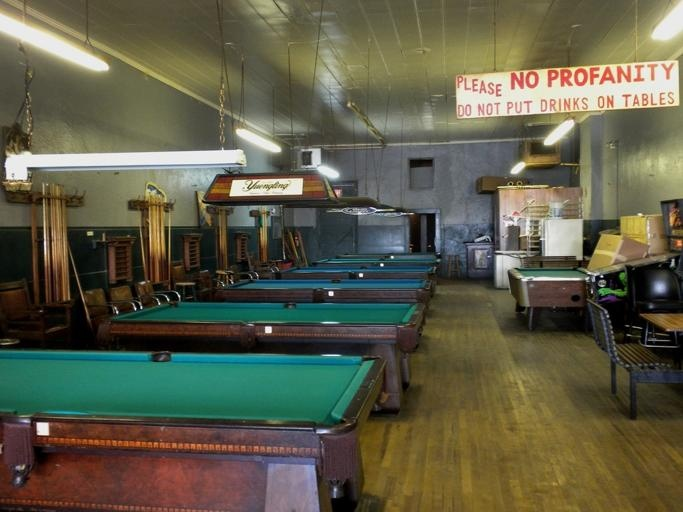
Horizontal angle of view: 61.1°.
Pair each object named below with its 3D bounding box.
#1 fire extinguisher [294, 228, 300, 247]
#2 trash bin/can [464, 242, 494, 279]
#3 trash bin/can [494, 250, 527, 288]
[{"bbox_3d":[-1.301,-0.555,17.090,0.176,0.535,0.404,-3,10,-5],"label":"fire extinguisher"},{"bbox_3d":[3.923,0.093,16.702,0.921,0.949,0.701,0,-3,-12],"label":"trash bin/can"},{"bbox_3d":[4.123,0.360,13.809,0.838,0.888,0.718,-2,-15,20],"label":"trash bin/can"}]
